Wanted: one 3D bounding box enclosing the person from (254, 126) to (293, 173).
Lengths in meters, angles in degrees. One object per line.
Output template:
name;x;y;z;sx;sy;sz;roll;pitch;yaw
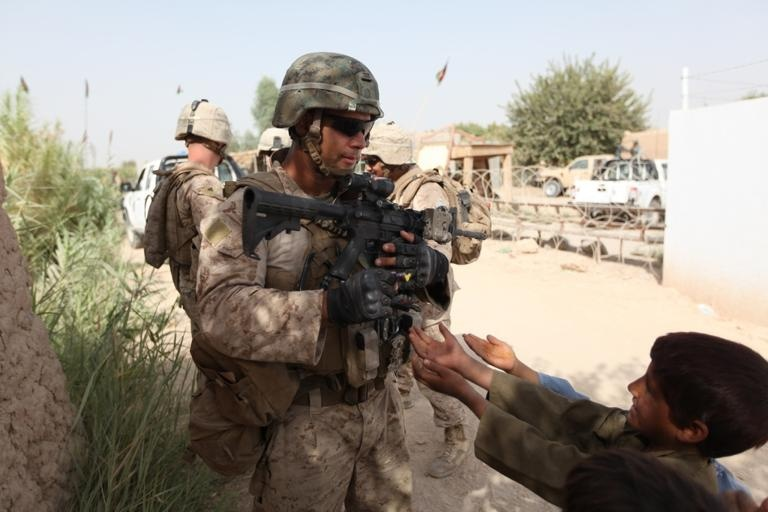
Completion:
person;-1.649;-1.551;9.612;0.574;0.751;0.681;2;5;-19

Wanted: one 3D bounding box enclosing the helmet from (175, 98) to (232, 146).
helmet;-1.690;-1.248;6.106;0.485;0.476;0.559;4;4;2

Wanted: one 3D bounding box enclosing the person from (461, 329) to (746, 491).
person;1.402;1.039;4.213;2.101;0.355;0.291;37;-22;16

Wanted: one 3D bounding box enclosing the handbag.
handbag;-0.820;0.881;3.870;0.664;0.806;0.428;9;20;-10

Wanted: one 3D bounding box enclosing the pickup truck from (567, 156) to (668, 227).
pickup truck;5.463;-1.418;14.779;1.794;1.471;3.180;11;13;36
